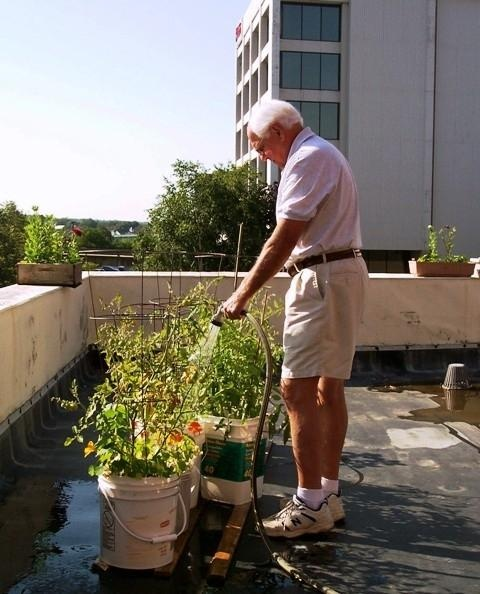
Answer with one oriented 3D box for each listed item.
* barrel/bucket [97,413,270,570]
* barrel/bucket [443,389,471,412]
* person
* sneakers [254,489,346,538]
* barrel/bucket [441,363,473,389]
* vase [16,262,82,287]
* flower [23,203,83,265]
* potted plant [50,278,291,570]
[{"bbox_3d":[-0.231,0.605,1.658,0.520,0.445,0.309,5,-9,-19],"label":"barrel/bucket"},{"bbox_3d":[1.548,0.744,3.743,0.121,0.097,0.129,1,-7,0],"label":"barrel/bucket"},{"bbox_3d":[0.162,0.054,1.840,0.530,1.447,0.488,-1,-5,15],"label":"person"},{"bbox_3d":[0.198,0.710,1.751,0.309,0.138,0.111,-1,-2,-11],"label":"sneakers"},{"bbox_3d":[1.738,0.636,4.216,0.205,0.185,0.199,-1,-1,0],"label":"barrel/bucket"},{"bbox_3d":[-1.365,-0.159,3.737,0.252,0.105,0.254,1,0,6],"label":"vase"},{"bbox_3d":[-1.434,-0.451,3.991,0.396,0.433,0.611,1,1,-18],"label":"flower"},{"bbox_3d":[-0.285,0.269,2.036,0.827,1.157,0.774,-3,6,-27],"label":"potted plant"}]
